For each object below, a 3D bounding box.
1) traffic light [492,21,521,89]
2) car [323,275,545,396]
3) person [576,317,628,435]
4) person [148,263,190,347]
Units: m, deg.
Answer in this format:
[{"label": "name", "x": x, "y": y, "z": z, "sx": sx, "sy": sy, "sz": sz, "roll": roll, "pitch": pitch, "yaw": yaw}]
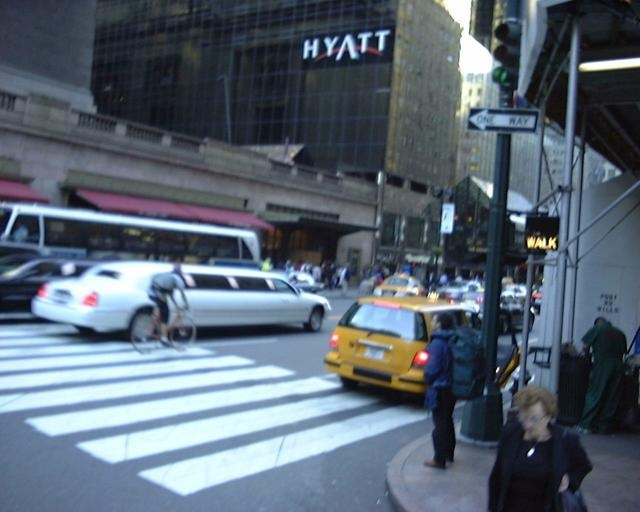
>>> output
[{"label": "traffic light", "x": 2.459, "y": -2.747, "z": 6.767, "sx": 0.329, "sy": 0.953, "sz": 0.646, "roll": 3, "pitch": 0, "yaw": 21}, {"label": "car", "x": 2.022, "y": 1.516, "z": 10.386, "sx": 1.801, "sy": 1.360, "sz": 3.556, "roll": 2, "pitch": 4, "yaw": 33}, {"label": "person", "x": 4.687, "y": 2.063, "z": 8.533, "sx": 0.775, "sy": 2.117, "sz": 0.673, "roll": 14, "pitch": -28, "yaw": 7}, {"label": "person", "x": -3.485, "y": 1.090, "z": 11.908, "sx": 0.883, "sy": 1.552, "sz": 1.017, "roll": 3, "pitch": 1, "yaw": -20}]
